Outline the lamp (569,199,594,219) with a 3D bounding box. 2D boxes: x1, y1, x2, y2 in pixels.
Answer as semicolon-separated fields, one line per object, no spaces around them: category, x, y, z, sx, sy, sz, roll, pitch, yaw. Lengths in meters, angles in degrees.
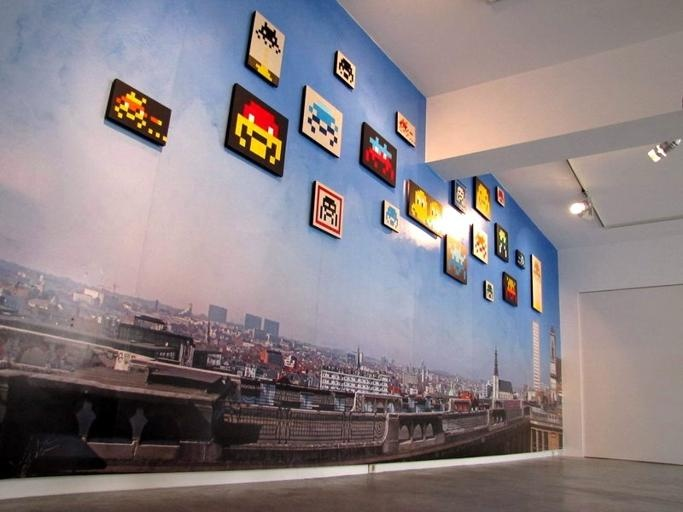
lamp;3.152;-0.599;5.786;0.246;0.103;0.259;18;1;-34
